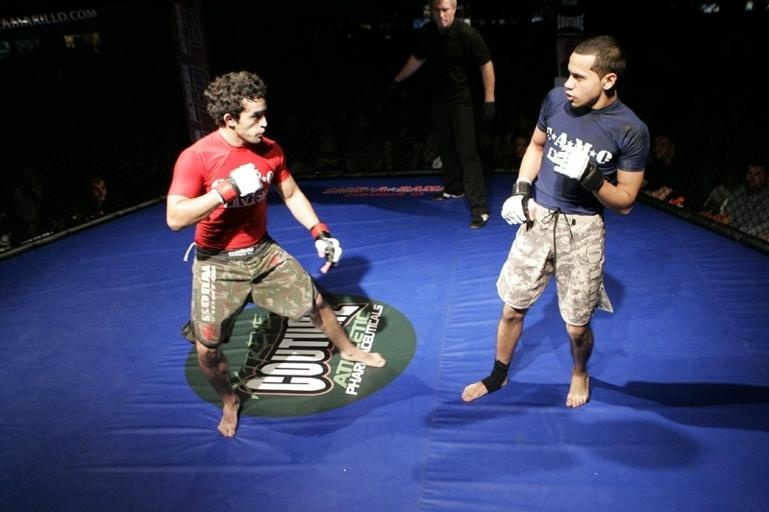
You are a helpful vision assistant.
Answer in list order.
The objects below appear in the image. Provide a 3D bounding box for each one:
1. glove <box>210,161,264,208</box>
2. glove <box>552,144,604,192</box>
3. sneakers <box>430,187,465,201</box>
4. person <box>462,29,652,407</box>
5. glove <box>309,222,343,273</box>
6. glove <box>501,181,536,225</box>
[{"bbox_3d":[-1.098,-0.544,4.006,0.328,0.284,0.145,-26,-1,2],"label":"glove"},{"bbox_3d":[1.425,-0.672,3.976,0.271,0.128,0.295,-13,43,4],"label":"glove"},{"bbox_3d":[0.957,-0.944,8.064,0.477,0.209,0.195,3,14,3],"label":"sneakers"},{"bbox_3d":[1.433,-0.201,4.212,1.000,2.840,0.792,9,23,21],"label":"person"},{"bbox_3d":[-0.500,-0.131,4.633,0.252,0.160,0.434,-23,57,-20],"label":"glove"},{"bbox_3d":[1.081,-0.392,4.290,0.229,0.148,0.376,-6,55,20],"label":"glove"}]
